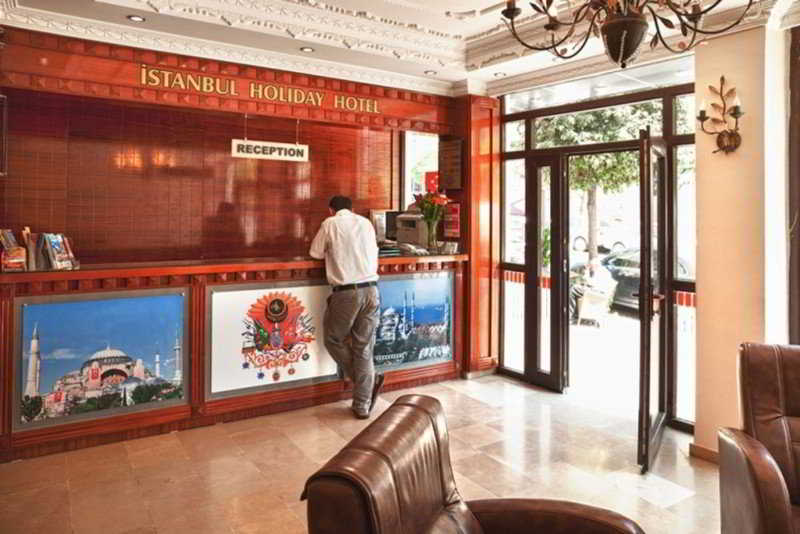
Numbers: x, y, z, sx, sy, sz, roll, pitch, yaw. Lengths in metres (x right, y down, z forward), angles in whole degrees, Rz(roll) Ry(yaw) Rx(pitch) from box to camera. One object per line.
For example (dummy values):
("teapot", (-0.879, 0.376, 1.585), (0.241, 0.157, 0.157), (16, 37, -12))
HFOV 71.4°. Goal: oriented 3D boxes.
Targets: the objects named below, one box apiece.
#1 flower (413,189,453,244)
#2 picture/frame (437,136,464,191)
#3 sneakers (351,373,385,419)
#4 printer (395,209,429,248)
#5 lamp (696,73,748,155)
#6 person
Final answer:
("flower", (0.372, -0.596, 6.960), (0.396, 0.673, 0.325), (1, 14, 1))
("picture/frame", (0.641, -1.318, 7.091), (0.251, 0.678, 0.468), (-3, 14, -13))
("sneakers", (-0.330, 1.329, 5.951), (0.212, 0.553, 0.225), (12, -22, 5))
("printer", (0.156, -0.483, 7.037), (0.323, 0.506, 0.560), (-1, 3, -37))
("lamp", (2.774, -1.329, 4.855), (0.391, 0.679, 0.324), (9, 16, 31))
("person", (-0.532, 0.393, 5.911), (0.774, 2.220, 0.645), (8, 16, 29))
